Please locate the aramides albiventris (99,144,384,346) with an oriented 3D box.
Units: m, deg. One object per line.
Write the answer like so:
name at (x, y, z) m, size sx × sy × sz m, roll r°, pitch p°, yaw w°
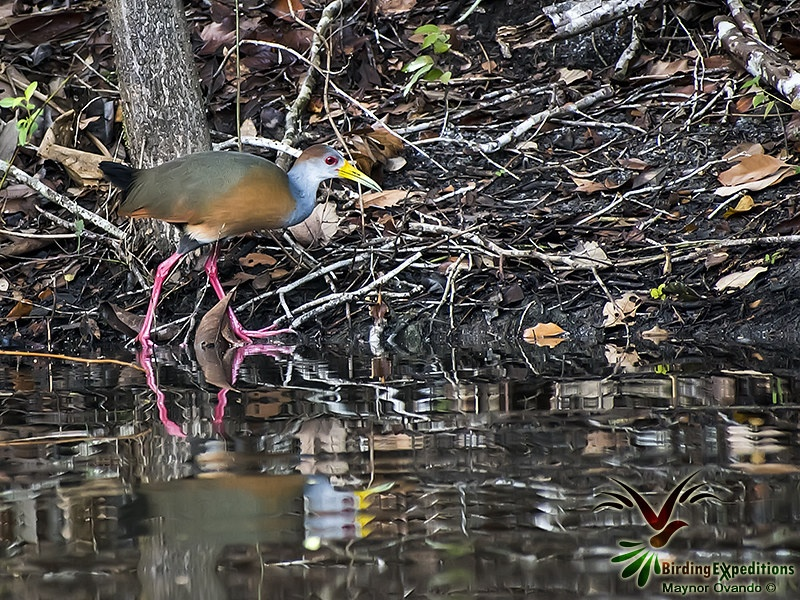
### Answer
aramides albiventris at (-0.732, -0.320, 4.593) m, size 1.278 × 0.666 × 0.474 m, roll 7°, pitch 10°, yaw 3°
